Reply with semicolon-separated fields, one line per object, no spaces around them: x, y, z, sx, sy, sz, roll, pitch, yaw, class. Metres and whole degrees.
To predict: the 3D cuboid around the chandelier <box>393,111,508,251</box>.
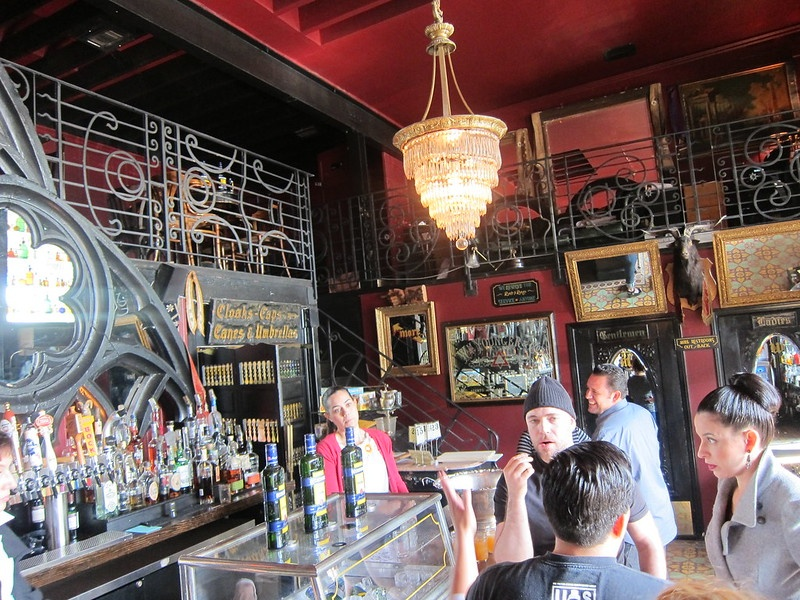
0.373;-0.857;4.890;1.003;0.974;0.970;-3;-4;-6;chandelier

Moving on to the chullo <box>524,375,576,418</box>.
0.856;0.552;3.500;0.214;0.183;0.285;1;1;1;chullo

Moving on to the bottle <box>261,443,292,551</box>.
-0.653;1.011;3.204;0.118;0.519;0.204;-5;-5;-14;bottle

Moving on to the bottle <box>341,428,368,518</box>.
-0.271;0.984;3.536;0.124;0.495;0.265;-6;-5;-5;bottle

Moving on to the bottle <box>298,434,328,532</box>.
-0.475;0.988;3.348;0.131;0.507;0.198;-5;-5;-11;bottle
